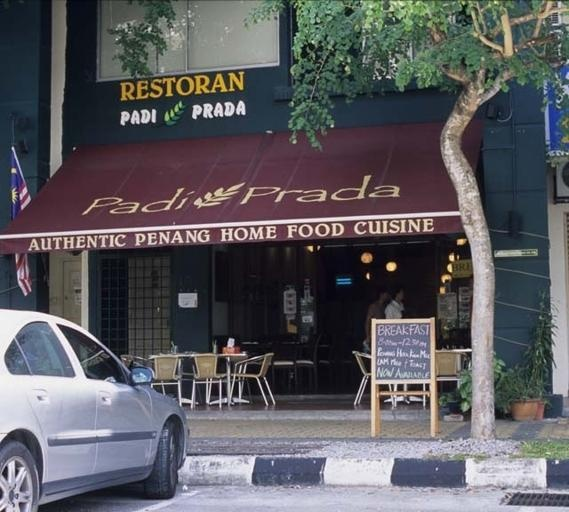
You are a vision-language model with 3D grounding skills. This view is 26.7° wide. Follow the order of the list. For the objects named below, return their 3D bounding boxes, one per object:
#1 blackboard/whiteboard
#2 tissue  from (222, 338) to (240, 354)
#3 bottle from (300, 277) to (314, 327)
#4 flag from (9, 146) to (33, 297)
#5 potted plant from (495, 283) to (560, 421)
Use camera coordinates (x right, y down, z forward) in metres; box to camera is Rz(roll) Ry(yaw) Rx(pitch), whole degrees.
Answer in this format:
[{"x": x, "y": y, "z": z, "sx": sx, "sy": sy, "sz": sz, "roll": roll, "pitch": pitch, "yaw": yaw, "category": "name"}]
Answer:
[{"x": 1.591, "y": 1.273, "z": 15.863, "sx": 0.733, "sy": 0.804, "sz": 0.272, "roll": -1, "pitch": -14, "yaw": 6, "category": "blackboard/whiteboard"}, {"x": -0.914, "y": 1.535, "z": 20.384, "sx": 0.226, "sy": 0.259, "sz": 0.245, "roll": -1, "pitch": -6, "yaw": 2, "category": "tissue "}, {"x": 0.457, "y": 0.944, "z": 24.212, "sx": 0.293, "sy": 1.002, "sz": 0.432, "roll": -1, "pitch": -5, "yaw": 1, "category": "bottle"}, {"x": -4.521, "y": -0.652, "z": 20.375, "sx": 0.371, "sy": 2.642, "sz": 0.870, "roll": 0, "pitch": -5, "yaw": -13, "category": "flag"}, {"x": 3.580, "y": 1.441, "z": 17.779, "sx": 0.900, "sy": 1.831, "sz": 0.781, "roll": -2, "pitch": -5, "yaw": 11, "category": "potted plant"}]
